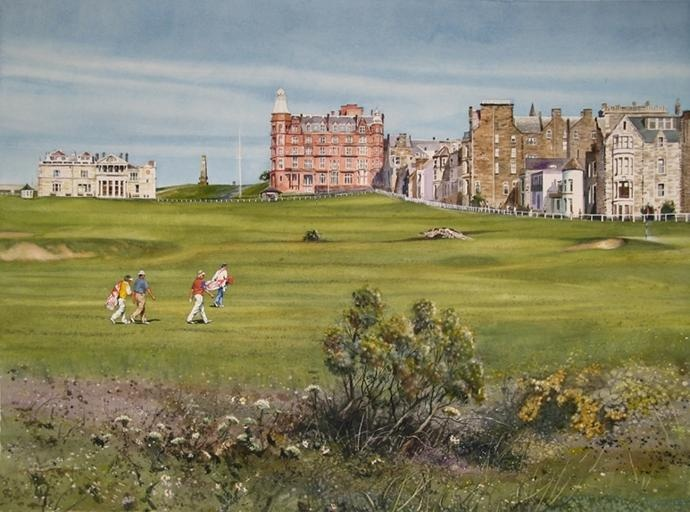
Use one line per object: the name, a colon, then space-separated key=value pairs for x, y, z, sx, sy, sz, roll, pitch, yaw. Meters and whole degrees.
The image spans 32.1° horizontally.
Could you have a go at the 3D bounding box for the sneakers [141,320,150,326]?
sneakers: x=-13.142 y=4.405 z=79.258 sx=0.490 sy=0.212 sz=0.179 roll=0 pitch=1 yaw=-11

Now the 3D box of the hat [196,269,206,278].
hat: x=-10.195 y=1.263 z=85.092 sx=0.613 sy=0.496 sz=0.460 roll=-18 pitch=1 yaw=34
